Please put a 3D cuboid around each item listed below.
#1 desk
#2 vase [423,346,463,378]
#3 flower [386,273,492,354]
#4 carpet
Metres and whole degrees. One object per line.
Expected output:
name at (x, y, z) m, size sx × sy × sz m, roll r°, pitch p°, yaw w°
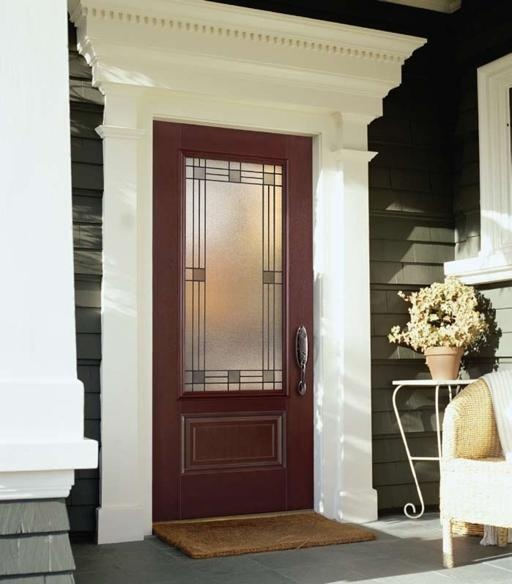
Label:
desk at (0.943, 0.816, 3.805) m, size 0.400 × 0.711 × 0.436 m, roll -8°, pitch -13°, yaw 39°
vase at (0.950, 0.356, 3.725) m, size 0.154 × 0.139 × 0.167 m, roll 0°, pitch -9°, yaw 8°
flower at (0.987, 0.130, 3.929) m, size 0.454 × 0.413 × 0.468 m, roll 2°, pitch -2°, yaw -42°
carpet at (0.023, 1.086, 3.362) m, size 0.918 × 0.064 × 0.595 m, roll 1°, pitch -1°, yaw -24°
